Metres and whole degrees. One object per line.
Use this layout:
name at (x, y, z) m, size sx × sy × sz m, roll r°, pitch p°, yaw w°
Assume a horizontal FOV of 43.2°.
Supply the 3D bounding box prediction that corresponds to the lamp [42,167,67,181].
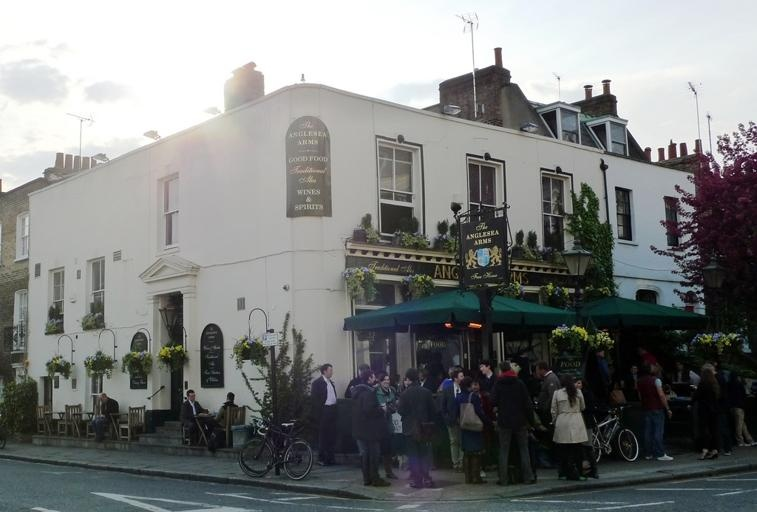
lamp at (-14.657, -3.623, 42.977) m, size 0.856 × 0.423 × 1.442 m, roll -13°, pitch 9°, yaw -15°

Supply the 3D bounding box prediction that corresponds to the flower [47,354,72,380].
flower at (-12.271, 4.232, 36.569) m, size 0.878 × 0.643 × 0.887 m, roll 2°, pitch -6°, yaw -6°

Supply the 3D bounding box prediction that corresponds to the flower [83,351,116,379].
flower at (-10.177, 3.959, 34.921) m, size 0.979 × 1.062 × 1.037 m, roll -1°, pitch -7°, yaw -1°

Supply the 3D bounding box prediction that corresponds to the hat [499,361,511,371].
hat at (3.341, 2.913, 25.418) m, size 0.216 × 0.274 × 0.273 m, roll 1°, pitch 11°, yaw 6°

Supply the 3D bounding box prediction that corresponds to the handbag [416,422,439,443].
handbag at (1.167, 4.574, 25.178) m, size 0.714 × 0.708 × 0.422 m, roll 2°, pitch -7°, yaw -23°

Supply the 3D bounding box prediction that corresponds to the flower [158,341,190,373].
flower at (-6.952, 3.401, 32.347) m, size 0.894 × 0.931 × 0.900 m, roll 5°, pitch -3°, yaw -42°

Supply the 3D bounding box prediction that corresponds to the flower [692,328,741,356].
flower at (10.821, 2.740, 30.394) m, size 1.212 × 0.590 × 1.188 m, roll 2°, pitch -5°, yaw -11°

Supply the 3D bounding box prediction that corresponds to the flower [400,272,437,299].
flower at (1.250, 1.004, 30.898) m, size 0.793 × 0.916 × 0.910 m, roll -3°, pitch -6°, yaw 20°

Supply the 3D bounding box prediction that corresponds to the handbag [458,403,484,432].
handbag at (2.405, 4.209, 25.089) m, size 0.694 × 0.821 × 0.338 m, roll 3°, pitch -20°, yaw -7°

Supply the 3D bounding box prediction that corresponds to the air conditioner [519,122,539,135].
air conditioner at (5.525, -4.716, 35.594) m, size 0.653 × 0.301 × 0.663 m, roll -3°, pitch -4°, yaw 39°

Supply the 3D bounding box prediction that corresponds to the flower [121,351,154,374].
flower at (-8.443, 3.701, 33.320) m, size 0.930 × 0.825 × 0.780 m, roll 2°, pitch -1°, yaw -30°

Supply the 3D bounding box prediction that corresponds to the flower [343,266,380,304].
flower at (-0.535, 0.862, 29.921) m, size 0.609 × 1.060 × 1.050 m, roll -11°, pitch -4°, yaw 35°

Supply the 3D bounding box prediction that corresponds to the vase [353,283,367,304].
vase at (-0.635, 1.217, 29.832) m, size 0.507 × 0.484 × 0.515 m, roll -2°, pitch -9°, yaw 37°

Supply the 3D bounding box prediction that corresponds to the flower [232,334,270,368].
flower at (-4.031, 2.998, 30.103) m, size 0.952 × 0.783 × 1.073 m, roll 1°, pitch -5°, yaw -4°

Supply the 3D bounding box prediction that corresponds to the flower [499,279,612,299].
flower at (5.926, 1.154, 33.155) m, size 2.696 × 0.667 × 0.587 m, roll 4°, pitch -14°, yaw -6°

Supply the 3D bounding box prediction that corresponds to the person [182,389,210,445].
person at (-6.040, 5.182, 30.853) m, size 0.886 × 1.611 × 1.281 m, roll -12°, pitch 8°, yaw -14°
